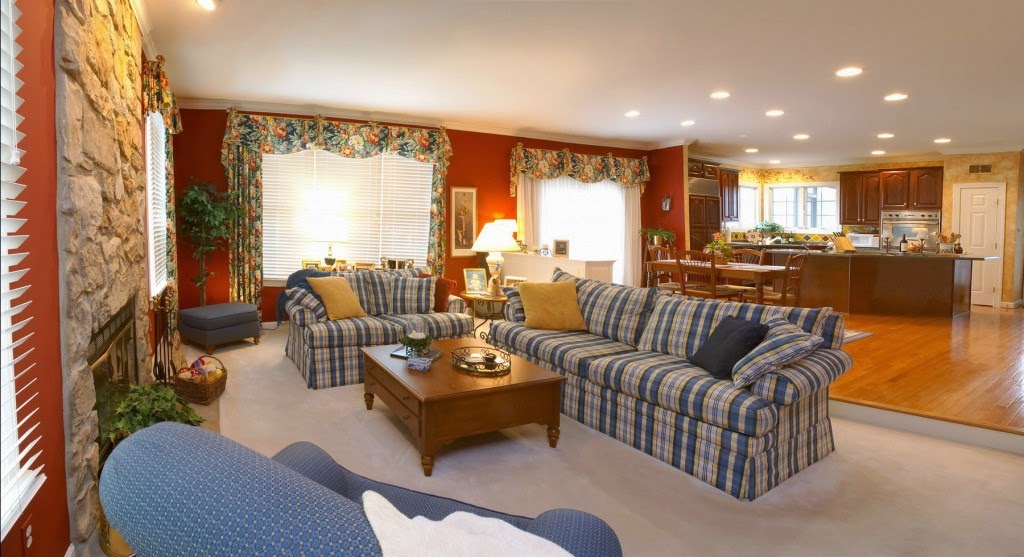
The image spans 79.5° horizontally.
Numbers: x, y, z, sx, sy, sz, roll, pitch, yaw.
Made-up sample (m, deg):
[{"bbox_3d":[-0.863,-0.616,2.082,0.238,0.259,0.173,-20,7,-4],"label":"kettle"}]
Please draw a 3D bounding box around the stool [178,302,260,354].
[{"bbox_3d":[-3.703,0.521,7.714,0.696,0.441,0.723,9,12,40],"label":"stool"}]

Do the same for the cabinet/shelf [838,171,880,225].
[{"bbox_3d":[6.936,-1.627,12.281,0.696,1.057,0.195,4,10,24],"label":"cabinet/shelf"}]

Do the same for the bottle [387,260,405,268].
[{"bbox_3d":[-1.654,-0.208,8.793,0.242,0.097,0.144,0,8,0],"label":"bottle"}]

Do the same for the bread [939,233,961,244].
[{"bbox_3d":[7.111,-0.658,9.991,0.296,0.127,0.319,1,9,20],"label":"bread"}]

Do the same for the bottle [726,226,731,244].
[{"bbox_3d":[4.453,-0.927,12.678,0.114,0.260,0.376,4,9,22],"label":"bottle"}]

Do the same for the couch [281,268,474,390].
[{"bbox_3d":[-1.864,0.465,7.208,2.015,1.042,1.459,-3,4,-33],"label":"couch"}]

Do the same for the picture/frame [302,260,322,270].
[{"bbox_3d":[-2.808,-0.196,8.603,0.417,0.038,0.312,1,20,-20],"label":"picture/frame"}]

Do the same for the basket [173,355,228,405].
[{"bbox_3d":[-3.216,1.017,6.378,0.551,0.418,0.551,3,8,4],"label":"basket"}]

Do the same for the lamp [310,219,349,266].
[{"bbox_3d":[-2.570,-0.539,8.700,0.442,0.719,0.563,-2,9,-15],"label":"lamp"}]

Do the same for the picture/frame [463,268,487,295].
[{"bbox_3d":[-0.508,0.036,8.466,0.430,0.430,0.031,3,-18,-19],"label":"picture/frame"}]

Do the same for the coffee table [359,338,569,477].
[{"bbox_3d":[-0.362,0.938,5.531,1.178,0.507,1.471,-2,9,-25],"label":"coffee table"}]

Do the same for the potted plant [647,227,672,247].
[{"bbox_3d":[2.649,-0.750,11.045,0.442,0.243,0.426,-1,0,20],"label":"potted plant"}]

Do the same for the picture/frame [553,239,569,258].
[{"bbox_3d":[0.720,-0.453,9.076,0.307,0.303,0.046,3,5,26],"label":"picture/frame"}]

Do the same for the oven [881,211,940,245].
[{"bbox_3d":[7.552,-0.996,11.744,0.369,0.657,0.958,-4,9,-29],"label":"oven"}]

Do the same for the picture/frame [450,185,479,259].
[{"bbox_3d":[-0.753,-0.901,9.735,0.481,1.082,0.124,-5,11,-32],"label":"picture/frame"}]
